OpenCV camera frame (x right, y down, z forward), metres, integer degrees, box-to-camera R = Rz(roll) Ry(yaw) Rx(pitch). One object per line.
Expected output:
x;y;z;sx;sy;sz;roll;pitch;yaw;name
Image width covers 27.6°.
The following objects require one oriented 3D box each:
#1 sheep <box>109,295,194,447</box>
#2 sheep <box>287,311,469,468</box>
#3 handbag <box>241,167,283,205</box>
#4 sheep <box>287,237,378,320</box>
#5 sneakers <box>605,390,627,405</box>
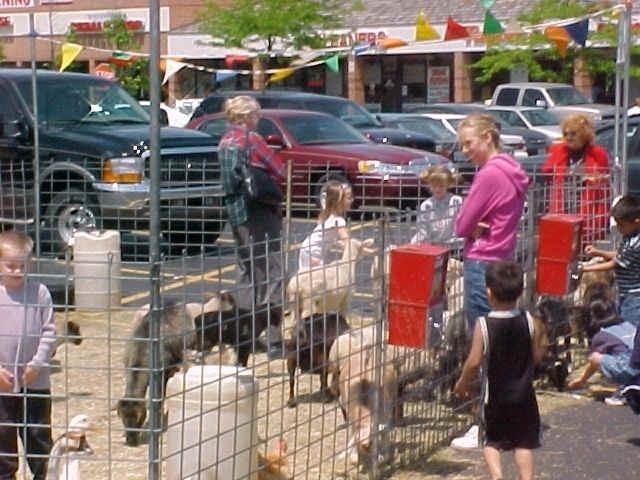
-1.495;1.084;11.186;0.524;0.935;1.686;9;43;2;sheep
0.397;1.208;11.322;1.535;1.311;0.771;-4;5;-23;sheep
-0.600;-0.574;13.196;0.393;0.372;0.130;-4;5;-30;handbag
0.046;0.323;10.904;0.840;0.664;0.483;-7;3;-4;sheep
2.780;1.486;12.320;0.110;0.089;0.209;0;-5;29;sneakers
